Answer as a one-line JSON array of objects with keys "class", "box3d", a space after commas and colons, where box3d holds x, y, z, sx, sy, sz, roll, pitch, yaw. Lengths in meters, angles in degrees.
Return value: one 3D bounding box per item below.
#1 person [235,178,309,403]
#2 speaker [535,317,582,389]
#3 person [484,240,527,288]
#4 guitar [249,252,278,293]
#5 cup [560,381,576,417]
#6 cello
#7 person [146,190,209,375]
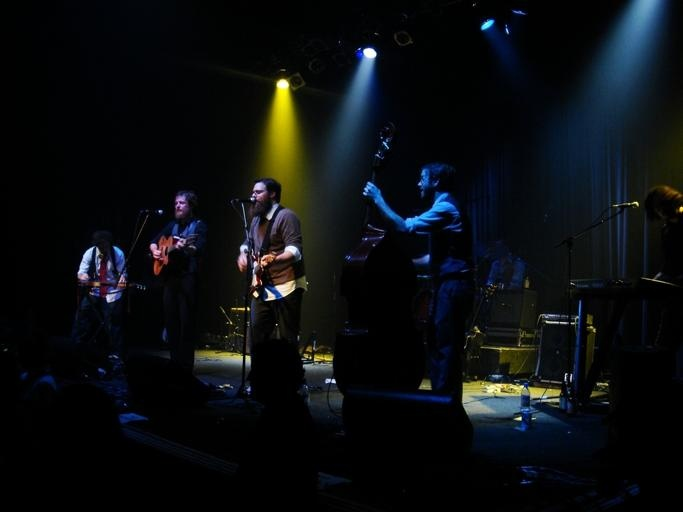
[{"class": "person", "box3d": [-0.691, 0.028, 5.881, 0.687, 1.664, 0.434, 2, -7, 6]}, {"class": "speaker", "box3d": [2.717, 1.151, 7.404, 0.496, 0.941, 2.279, 1, -9, 15]}, {"class": "person", "box3d": [2.626, 0.095, 9.394, 0.600, 0.920, 1.318, 1, -8, 15]}, {"class": "guitar", "box3d": [-0.772, 0.176, 5.748, 0.102, 0.370, 0.334, 9, -9, -40]}, {"class": "cup", "box3d": [2.245, 1.406, 5.853, 0.145, 0.291, 0.416, 0, -9, 20]}, {"class": "cello", "box3d": [0.280, 0.081, 4.224, 0.594, 1.864, 0.315, -2, 1, -28]}, {"class": "person", "box3d": [-1.844, 0.243, 6.806, 0.699, 2.122, 0.447, -2, -9, 37]}]
